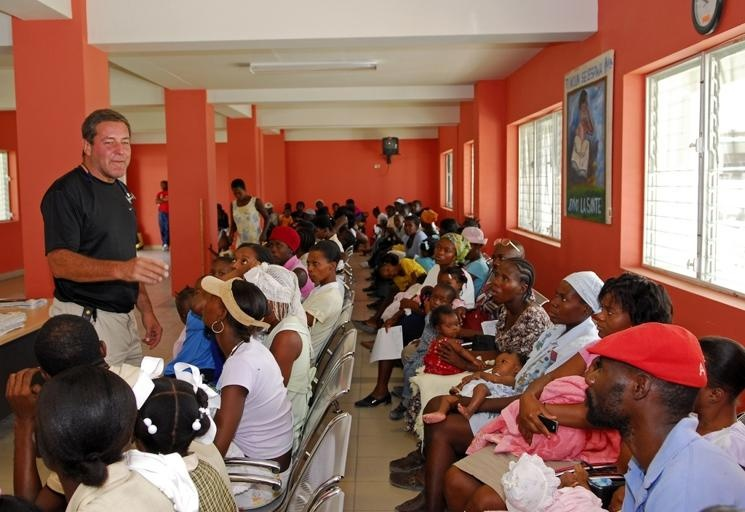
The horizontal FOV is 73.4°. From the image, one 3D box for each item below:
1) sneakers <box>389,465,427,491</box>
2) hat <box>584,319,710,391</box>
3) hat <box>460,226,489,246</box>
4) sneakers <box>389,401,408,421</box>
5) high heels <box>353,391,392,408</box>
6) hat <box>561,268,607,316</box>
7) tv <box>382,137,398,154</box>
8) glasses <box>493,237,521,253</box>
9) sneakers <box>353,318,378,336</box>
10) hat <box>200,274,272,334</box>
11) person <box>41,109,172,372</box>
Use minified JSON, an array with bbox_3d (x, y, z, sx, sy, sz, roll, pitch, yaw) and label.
[{"bbox_3d":[0.218,1.392,3.173,0.221,0.114,0.277,3,6,4],"label":"sneakers"},{"bbox_3d":[0.886,0.298,1.609,0.279,0.116,0.202,17,3,19],"label":"hat"},{"bbox_3d":[1.090,-0.224,5.289,0.266,0.151,0.196,2,13,-25],"label":"hat"},{"bbox_3d":[0.203,1.232,3.965,0.070,0.083,0.212,-2,-6,18],"label":"sneakers"},{"bbox_3d":[0.005,1.207,4.265,0.294,0.107,0.118,2,-4,-15],"label":"high heels"},{"bbox_3d":[1.132,0.192,2.630,0.215,0.201,0.208,-3,7,-44],"label":"hat"},{"bbox_3d":[0.543,-3.332,15.163,0.446,0.483,0.142,1,-7,0],"label":"tv"},{"bbox_3d":[1.384,-0.114,5.066,0.195,0.065,0.194,20,3,-8],"label":"glasses"},{"bbox_3d":[-0.087,0.861,6.185,0.361,0.122,0.134,17,6,35],"label":"sneakers"},{"bbox_3d":[-0.688,0.227,2.415,0.340,0.237,0.161,4,5,15],"label":"hat"},{"bbox_3d":[-1.433,-0.083,2.700,0.596,1.515,0.859,-1,6,-33],"label":"person"}]
